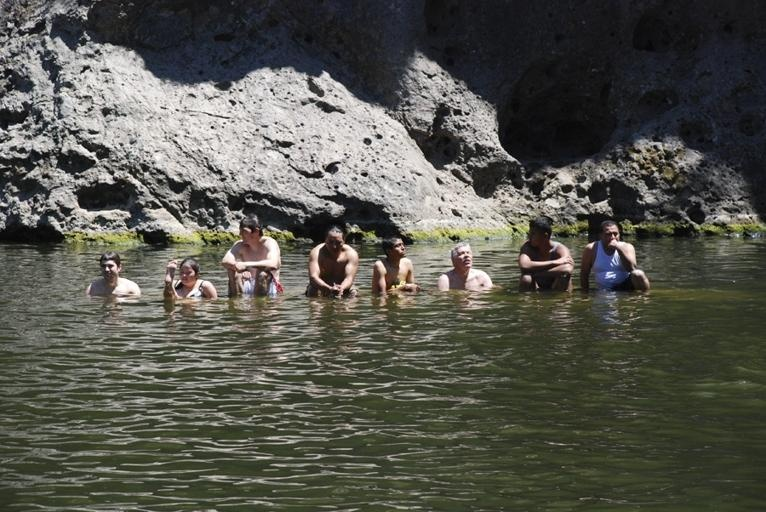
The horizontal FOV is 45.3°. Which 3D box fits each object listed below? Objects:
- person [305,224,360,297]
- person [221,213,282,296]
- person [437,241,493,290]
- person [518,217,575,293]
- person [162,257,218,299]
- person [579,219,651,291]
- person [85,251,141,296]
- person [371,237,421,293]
[{"bbox_3d":[-0.914,0.096,16.176,0.895,1.210,0.680,-1,10,-5],"label":"person"},{"bbox_3d":[-2.325,-0.005,16.363,0.947,1.388,0.801,-2,10,-8],"label":"person"},{"bbox_3d":[1.465,0.159,16.644,0.956,0.910,0.741,-9,13,-43],"label":"person"},{"bbox_3d":[2.915,-0.017,16.306,0.899,1.290,0.399,1,10,6],"label":"person"},{"bbox_3d":[-3.356,0.410,15.855,0.913,0.694,0.640,-5,10,-25],"label":"person"},{"bbox_3d":[4.086,0.004,16.073,1.176,1.246,0.534,4,11,23],"label":"person"},{"bbox_3d":[-4.745,0.366,16.156,1.052,0.713,0.556,0,-9,7],"label":"person"},{"bbox_3d":[0.212,0.147,16.420,0.887,1.018,0.640,-5,11,-23],"label":"person"}]
